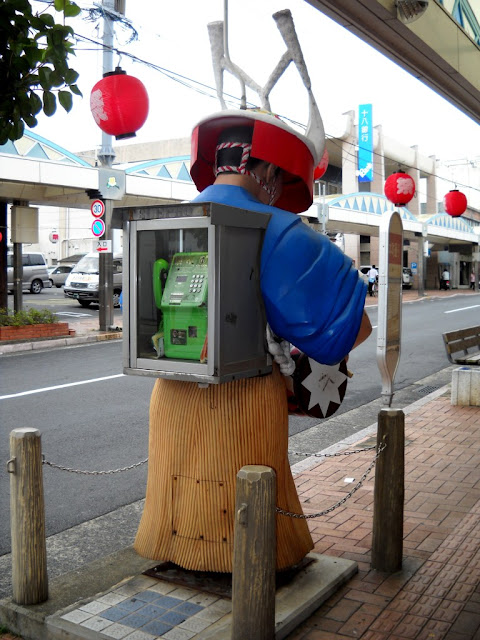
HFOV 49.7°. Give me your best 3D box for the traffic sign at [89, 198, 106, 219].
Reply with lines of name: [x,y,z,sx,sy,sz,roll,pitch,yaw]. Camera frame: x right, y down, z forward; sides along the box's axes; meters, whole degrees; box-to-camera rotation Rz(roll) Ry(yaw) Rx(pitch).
traffic sign: [-3.788,-2.991,13.895,0.349,0.648,0.564,3,-3,-16]

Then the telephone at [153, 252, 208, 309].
telephone: [-0.198,-0.158,2.022,0.221,0.225,0.154,11,16,38]

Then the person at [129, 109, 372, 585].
person: [0.040,0.101,2.179,0.980,2.026,0.684,2,-3,14]

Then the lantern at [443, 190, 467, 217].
lantern: [7.026,-3.797,16.963,0.882,0.998,0.895,0,10,17]

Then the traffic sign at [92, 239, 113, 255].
traffic sign: [-3.691,-1.991,14.111,0.427,0.393,0.504,3,-3,-10]
